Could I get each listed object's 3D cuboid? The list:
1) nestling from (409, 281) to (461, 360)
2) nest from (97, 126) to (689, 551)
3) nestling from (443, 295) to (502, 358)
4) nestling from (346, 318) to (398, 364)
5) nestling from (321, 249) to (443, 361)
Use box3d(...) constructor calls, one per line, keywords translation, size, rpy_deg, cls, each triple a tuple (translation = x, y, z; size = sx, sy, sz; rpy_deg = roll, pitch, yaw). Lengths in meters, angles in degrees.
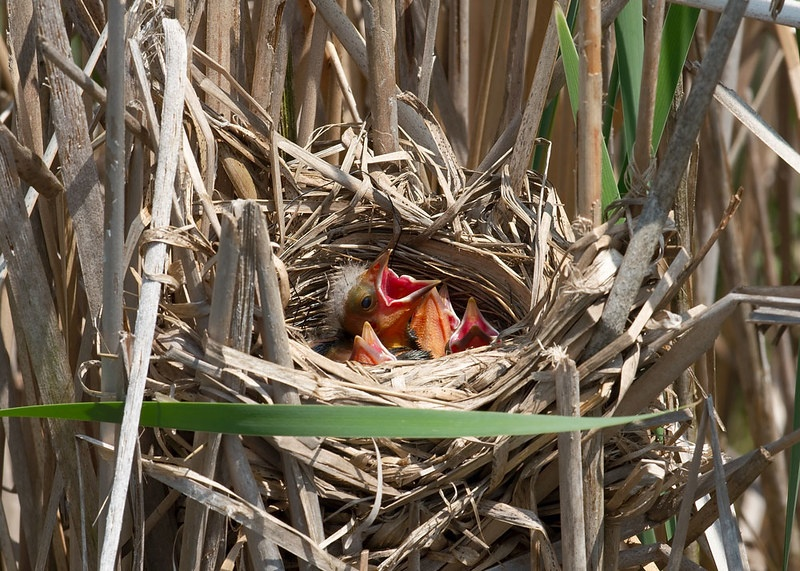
box3d(translation=(0.054, 0.054, 2.228), size=(0.092, 0.051, 0.148), rpy_deg=(-9, 50, 2), cls="nestling")
box3d(translation=(-0.041, 0.031, 1.860), size=(0.808, 0.472, 0.631), rpy_deg=(-5, 24, -16), cls="nest")
box3d(translation=(0.121, 0.077, 2.122), size=(0.085, 0.095, 0.087), rpy_deg=(-6, -22, -4), cls="nestling")
box3d(translation=(-0.047, 0.094, 2.107), size=(0.066, 0.075, 0.061), rpy_deg=(-6, 0, -36), cls="nestling")
box3d(translation=(-0.037, 0.044, 2.227), size=(0.204, 0.208, 0.096), rpy_deg=(-14, 26, -2), cls="nestling")
